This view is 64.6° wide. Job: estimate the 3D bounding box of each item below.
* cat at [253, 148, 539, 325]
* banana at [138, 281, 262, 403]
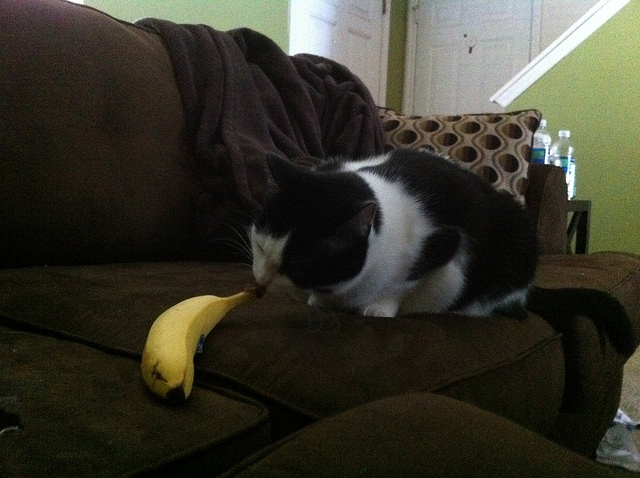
[{"bbox_3d":[0.128,-0.001,0.801,0.410,0.184,0.234,0,25,-32],"label":"cat"},{"bbox_3d":[-0.161,0.127,0.750,0.080,0.063,0.249,22,26,14],"label":"banana"}]
